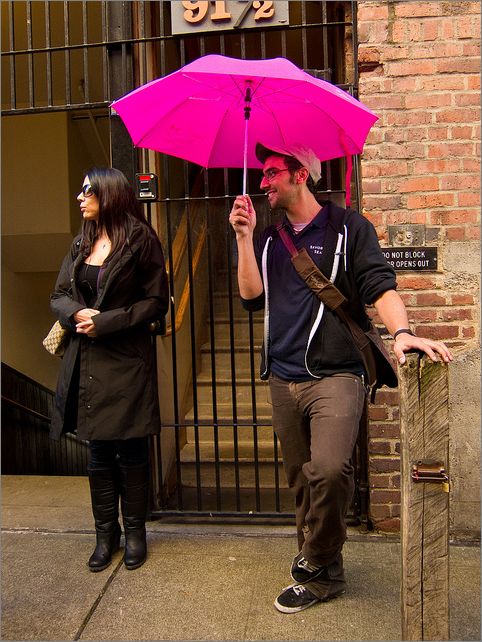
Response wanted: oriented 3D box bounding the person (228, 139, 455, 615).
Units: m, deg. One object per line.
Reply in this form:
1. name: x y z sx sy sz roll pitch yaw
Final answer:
1. person: 0.283 0.230 2.497 0.659 1.836 0.458 0 4 17

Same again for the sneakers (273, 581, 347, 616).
1. sneakers: 0.276 1.073 2.644 0.272 0.121 0.107 1 44 -27

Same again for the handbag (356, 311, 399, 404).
1. handbag: 0.523 0.135 2.549 0.124 0.372 0.270 -14 18 10

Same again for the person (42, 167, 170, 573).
1. person: -0.595 0.216 2.984 0.534 1.799 0.413 -2 4 -11

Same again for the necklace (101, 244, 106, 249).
1. necklace: -0.620 -0.332 2.947 0.014 0.018 0.004 1 -4 23

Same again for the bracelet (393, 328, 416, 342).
1. bracelet: 0.529 0.046 2.140 0.062 0.028 0.079 0 6 15

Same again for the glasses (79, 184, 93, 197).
1. glasses: -0.683 -0.585 2.918 0.047 0.062 0.022 -4 -4 25
